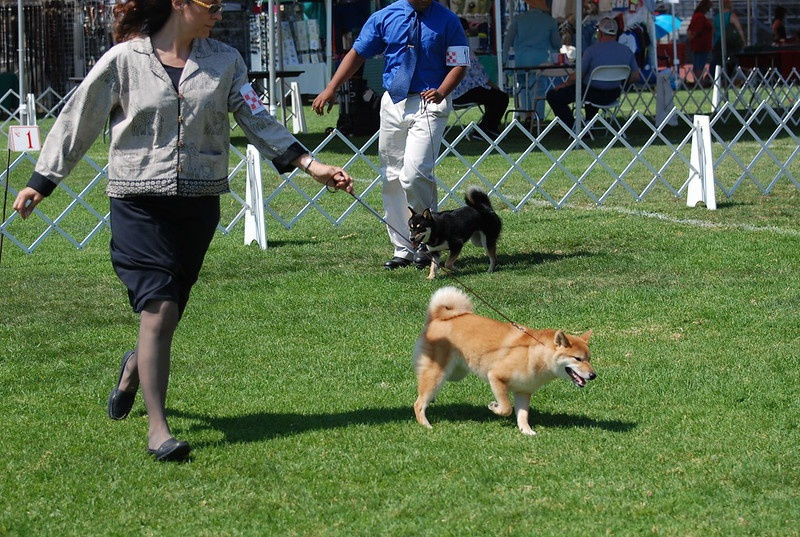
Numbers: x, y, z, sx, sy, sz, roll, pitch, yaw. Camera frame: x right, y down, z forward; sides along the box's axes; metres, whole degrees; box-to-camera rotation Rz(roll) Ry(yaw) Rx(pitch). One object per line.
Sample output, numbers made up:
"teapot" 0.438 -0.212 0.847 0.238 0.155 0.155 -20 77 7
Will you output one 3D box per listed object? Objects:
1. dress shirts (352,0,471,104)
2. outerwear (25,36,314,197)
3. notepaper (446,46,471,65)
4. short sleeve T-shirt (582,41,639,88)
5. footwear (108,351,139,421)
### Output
"dress shirts" 0.103 -1.892 8.915 0.996 0.891 0.473 2 11 -1
"outerwear" -1.442 -0.910 6.150 1.541 0.950 0.349 2 11 -1
"notepaper" 0.503 -1.847 8.858 0.213 0.179 0.123 0 11 -10
"short sleeve T-shirt" 3.188 -3.085 15.302 0.899 0.641 0.434 -3 12 -23
"footwear" -1.808 0.787 6.571 0.158 0.484 0.136 7 12 -30
